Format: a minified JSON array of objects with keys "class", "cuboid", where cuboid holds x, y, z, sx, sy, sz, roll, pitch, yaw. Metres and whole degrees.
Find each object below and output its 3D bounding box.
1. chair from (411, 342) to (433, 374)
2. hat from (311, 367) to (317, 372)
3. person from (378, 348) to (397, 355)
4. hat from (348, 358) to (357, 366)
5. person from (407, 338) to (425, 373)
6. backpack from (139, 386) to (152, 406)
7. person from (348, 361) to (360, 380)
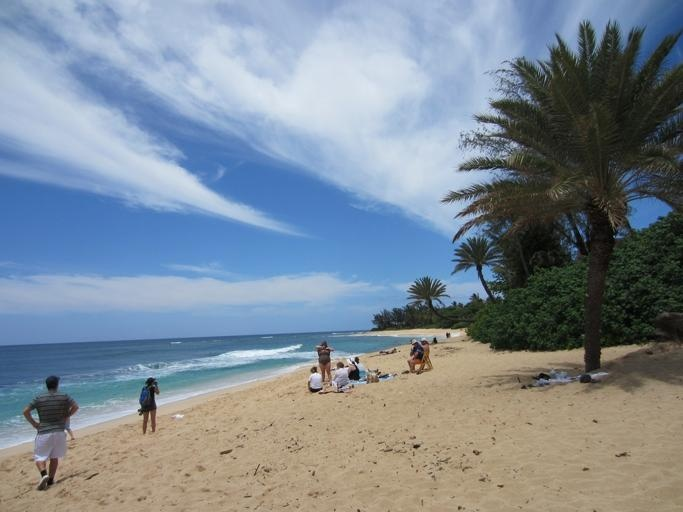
[{"class":"chair","cuboid":[3.336,4.099,16.993,0.981,1.485,0.823,-1,-16,-16]},{"class":"hat","cuboid":[-1.033,4.290,15.721,0.214,0.138,0.288,1,-11,-8]},{"class":"person","cuboid":[3.484,7.178,30.875,0.857,0.395,1.101,-5,-13,-19]},{"class":"hat","cuboid":[0.441,4.552,17.574,0.390,0.105,0.383,5,-2,-33]},{"class":"person","cuboid":[3.179,4.218,17.441,0.765,1.266,2.192,-9,0,8]},{"class":"backpack","cuboid":[-6.377,4.527,13.403,0.296,0.666,0.371,-11,2,-37]},{"class":"person","cuboid":[0.467,4.657,16.661,0.434,0.642,0.774,-10,1,-2]}]
